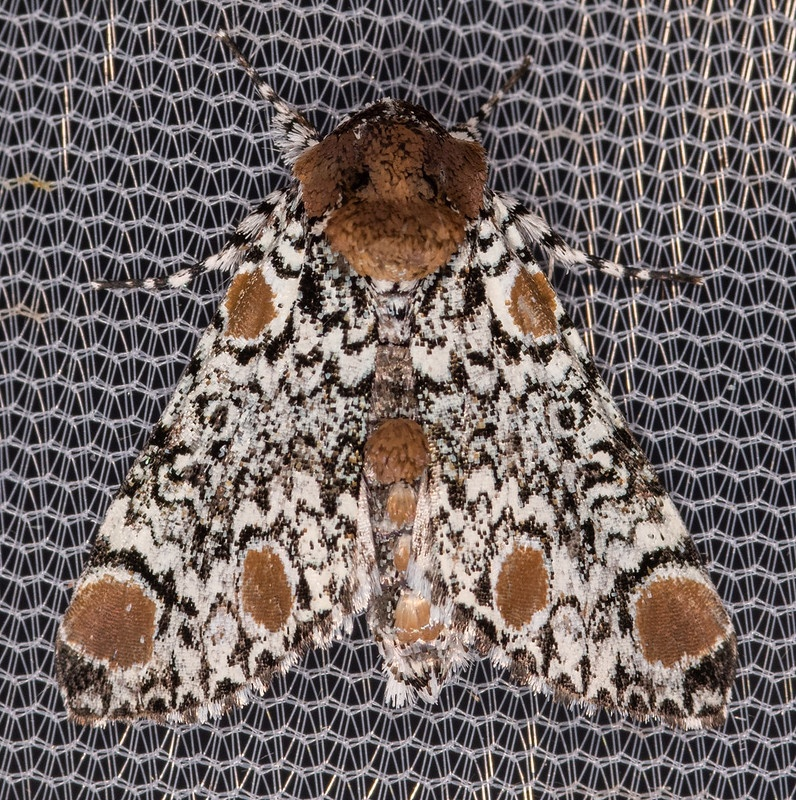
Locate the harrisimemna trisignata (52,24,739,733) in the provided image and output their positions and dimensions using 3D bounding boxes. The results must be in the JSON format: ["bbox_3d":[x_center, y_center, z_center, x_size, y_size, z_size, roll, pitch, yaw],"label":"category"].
[{"bbox_3d":[-0.039,-0.078,2.975,1.042,0.276,1.387,-1,95,0],"label":"harrisimemna trisignata"}]
